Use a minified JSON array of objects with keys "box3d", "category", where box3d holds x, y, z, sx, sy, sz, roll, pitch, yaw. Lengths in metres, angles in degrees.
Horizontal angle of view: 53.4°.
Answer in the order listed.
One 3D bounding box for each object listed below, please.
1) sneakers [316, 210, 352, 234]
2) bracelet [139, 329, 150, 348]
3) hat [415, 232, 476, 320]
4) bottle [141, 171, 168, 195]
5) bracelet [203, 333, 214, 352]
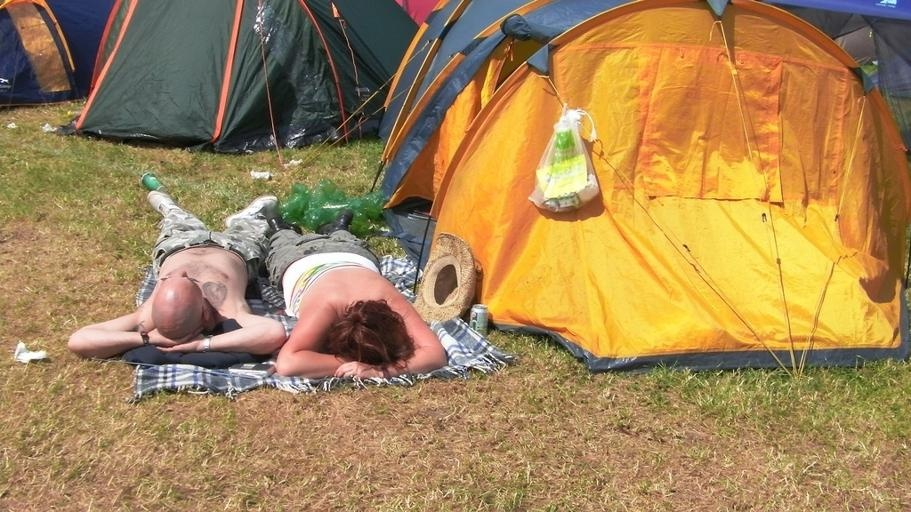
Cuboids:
[{"box3d":[-1.606,-0.433,11.754,0.207,0.229,0.490,-7,18,26],"category":"sneakers"},{"box3d":[-3.472,0.907,10.028,0.090,0.133,0.129,-5,27,-23],"category":"bracelet"},{"box3d":[-0.097,0.248,10.820,0.272,1.000,0.782,15,17,-48],"category":"hat"},{"box3d":[-4.190,-0.999,12.481,0.304,0.276,0.390,-16,42,-42],"category":"bottle"},{"box3d":[-2.765,0.959,10.037,0.106,0.159,0.157,9,31,2],"category":"bracelet"}]
